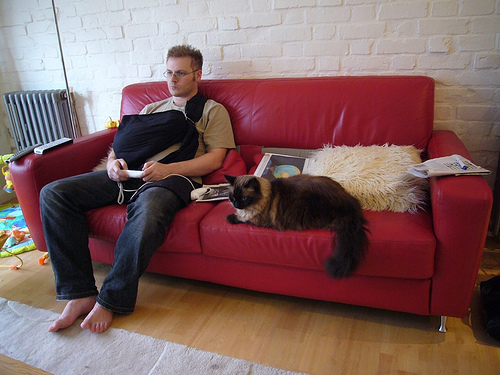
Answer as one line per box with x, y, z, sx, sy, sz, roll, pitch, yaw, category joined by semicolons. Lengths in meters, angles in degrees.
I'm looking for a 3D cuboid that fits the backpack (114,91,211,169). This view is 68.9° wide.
-0.667;-0.324;2.569;0.489;0.252;0.686;-1;-14;-8;backpack

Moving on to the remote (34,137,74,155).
-1.265;-0.271;2.351;0.088;0.030;0.186;4;24;27;remote

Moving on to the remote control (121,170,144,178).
-0.698;-0.065;2.169;0.056;0.042;0.204;24;-18;-40;remote control

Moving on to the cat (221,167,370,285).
0.256;0.108;1.883;0.822;0.289;0.553;17;32;39;cat

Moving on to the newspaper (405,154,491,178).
0.937;-0.083;1.786;0.321;0.111;0.245;2;25;11;newspaper

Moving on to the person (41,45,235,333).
-0.697;-0.107;2.248;0.912;1.546;1.227;4;12;17;person
